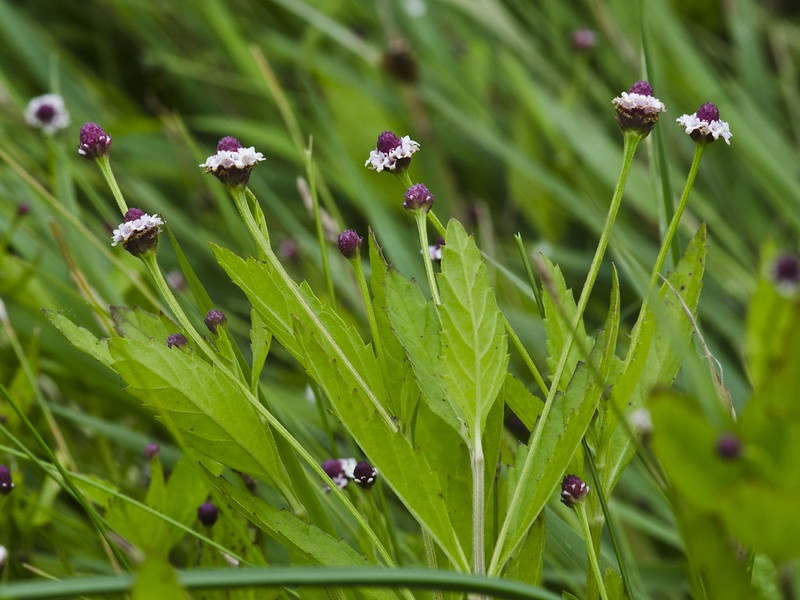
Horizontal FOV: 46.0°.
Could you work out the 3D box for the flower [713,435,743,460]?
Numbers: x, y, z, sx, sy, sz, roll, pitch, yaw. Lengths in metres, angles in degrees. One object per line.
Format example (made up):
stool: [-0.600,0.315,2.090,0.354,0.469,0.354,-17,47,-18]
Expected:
flower: [0.215,0.097,0.613,0.017,0.020,0.009,-11,37,13]

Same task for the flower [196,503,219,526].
flower: [-0.166,0.185,0.818,0.015,0.022,0.021,7,65,2]

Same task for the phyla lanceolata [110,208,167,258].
phyla lanceolata: [-0.213,-0.055,0.760,0.032,0.047,0.039,0,6,-5]

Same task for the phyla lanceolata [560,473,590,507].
phyla lanceolata: [0.135,0.147,0.732,0.015,0.029,0.017,-16,36,-15]

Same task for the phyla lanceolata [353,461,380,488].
phyla lanceolata: [-0.028,0.147,0.795,0.017,0.023,0.029,-2,80,6]

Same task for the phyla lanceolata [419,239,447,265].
phyla lanceolata: [0.030,-0.044,0.830,0.019,0.021,0.023,16,44,24]

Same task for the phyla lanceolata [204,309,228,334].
phyla lanceolata: [-0.153,0.018,0.782,0.014,0.023,0.019,8,-4,-1]

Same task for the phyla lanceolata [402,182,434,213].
phyla lanceolata: [0.014,-0.082,0.810,0.018,0.024,0.027,-9,54,37]

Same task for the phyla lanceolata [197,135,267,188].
phyla lanceolata: [-0.138,-0.107,0.768,0.041,0.059,0.050,-5,13,-9]

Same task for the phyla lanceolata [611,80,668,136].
phyla lanceolata: [0.195,-0.154,0.774,0.038,0.051,0.037,3,9,-44]

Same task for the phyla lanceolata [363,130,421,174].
phyla lanceolata: [-0.008,-0.123,0.787,0.035,0.040,0.033,-24,22,-24]
